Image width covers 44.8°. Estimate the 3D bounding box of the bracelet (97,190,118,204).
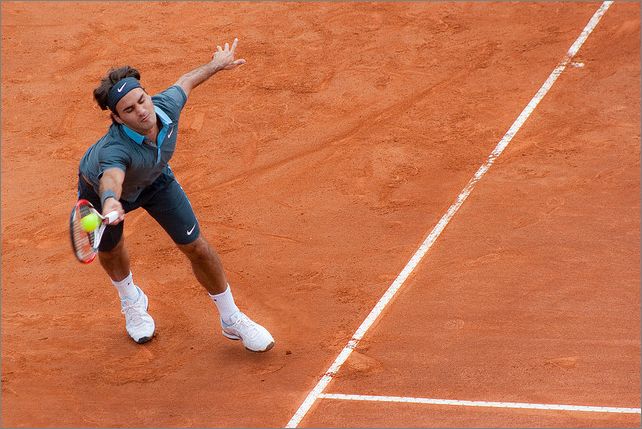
[{"bbox_3d":[-2.221,-0.192,8.110,0.144,0.105,0.139,-9,32,47],"label":"bracelet"}]
